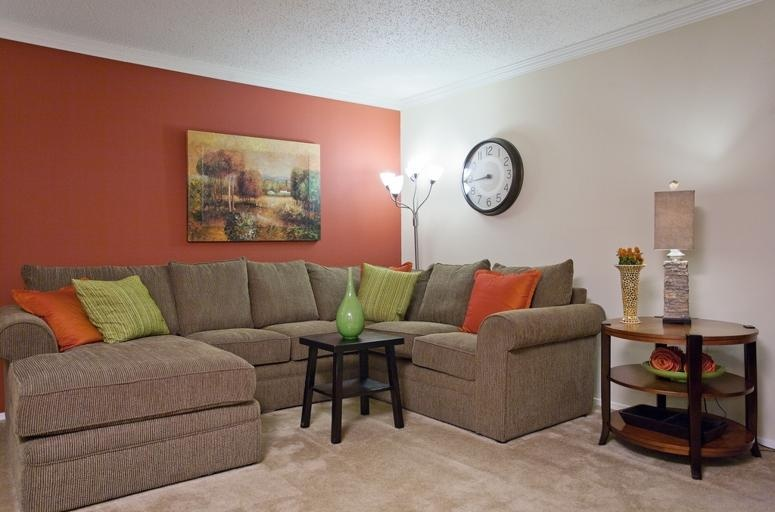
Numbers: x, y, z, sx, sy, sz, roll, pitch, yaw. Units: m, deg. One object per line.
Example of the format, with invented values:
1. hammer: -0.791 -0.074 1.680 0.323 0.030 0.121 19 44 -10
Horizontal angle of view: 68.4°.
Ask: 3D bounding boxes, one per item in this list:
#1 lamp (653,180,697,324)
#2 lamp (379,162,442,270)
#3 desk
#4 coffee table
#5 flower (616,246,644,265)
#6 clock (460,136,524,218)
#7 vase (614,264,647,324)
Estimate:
1. lamp: 2.199 -0.042 4.389 0.340 1.039 0.549 7 14 27
2. lamp: 0.214 -0.453 6.570 0.588 1.211 0.802 -7 14 -29
3. desk: 2.118 0.972 4.099 1.154 0.955 0.750 4 13 19
4. coffee table: -0.367 0.988 4.730 1.008 0.956 0.760 4 -7 -38
5. flower: 1.868 0.001 4.389 0.163 0.138 0.170 3 12 12
6. clock: 1.088 -0.805 5.792 0.163 0.936 0.885 4 -7 -35
7. vase: 1.834 0.287 4.323 0.189 0.430 0.318 4 13 16
